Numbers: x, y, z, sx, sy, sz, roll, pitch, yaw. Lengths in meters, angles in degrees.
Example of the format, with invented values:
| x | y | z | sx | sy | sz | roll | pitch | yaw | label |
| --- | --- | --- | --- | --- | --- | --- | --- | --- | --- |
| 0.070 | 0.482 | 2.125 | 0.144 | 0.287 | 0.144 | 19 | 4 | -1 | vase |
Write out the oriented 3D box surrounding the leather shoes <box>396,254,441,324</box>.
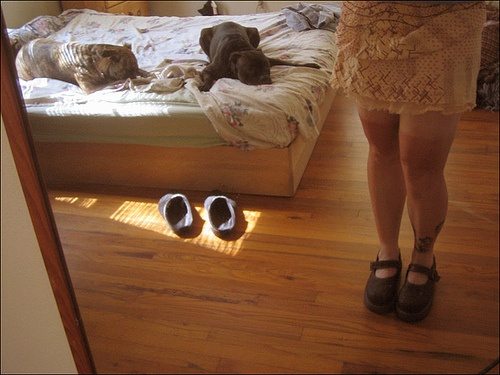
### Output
| x | y | z | sx | sy | sz | roll | pitch | yaw | label |
| --- | --- | --- | --- | --- | --- | --- | --- | --- | --- |
| 0.609 | 0.354 | 1.347 | 0.104 | 0.089 | 0.245 | 7 | 45 | 34 | leather shoes |

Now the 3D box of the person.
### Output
| x | y | z | sx | sy | sz | roll | pitch | yaw | label |
| --- | --- | --- | --- | --- | --- | --- | --- | --- | --- |
| 0.487 | -0.063 | 1.212 | 0.358 | 1.003 | 0.489 | -10 | 35 | -6 | person |

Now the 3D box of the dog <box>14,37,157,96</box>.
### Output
| x | y | z | sx | sy | sz | roll | pitch | yaw | label |
| --- | --- | --- | --- | --- | --- | --- | --- | --- | --- |
| -1.076 | -0.791 | 2.371 | 0.922 | 0.351 | 0.277 | 14 | 26 | 19 | dog |

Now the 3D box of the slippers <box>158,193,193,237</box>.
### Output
| x | y | z | sx | sy | sz | roll | pitch | yaw | label |
| --- | --- | --- | --- | --- | --- | --- | --- | --- | --- |
| -0.373 | 0.126 | 1.881 | 0.135 | 0.089 | 0.247 | -14 | 38 | -13 | slippers |

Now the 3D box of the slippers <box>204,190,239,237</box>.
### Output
| x | y | z | sx | sy | sz | roll | pitch | yaw | label |
| --- | --- | --- | --- | --- | --- | --- | --- | --- | --- |
| -0.144 | 0.126 | 1.818 | 0.129 | 0.083 | 0.209 | -3 | 41 | 1 | slippers |
